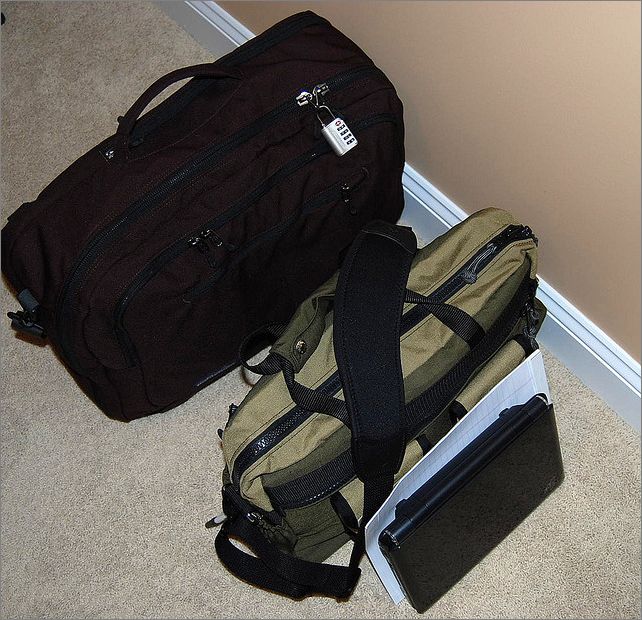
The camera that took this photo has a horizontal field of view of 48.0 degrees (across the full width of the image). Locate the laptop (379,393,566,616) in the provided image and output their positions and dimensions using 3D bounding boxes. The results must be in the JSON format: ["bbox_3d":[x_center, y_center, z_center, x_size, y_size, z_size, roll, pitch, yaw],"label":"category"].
[{"bbox_3d":[0.223,0.298,1.098,0.079,0.308,0.270,35,-21,32],"label":"laptop"}]

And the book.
[{"bbox_3d":[0.201,0.242,1.075,0.103,0.335,0.323,38,59,23],"label":"book"}]
